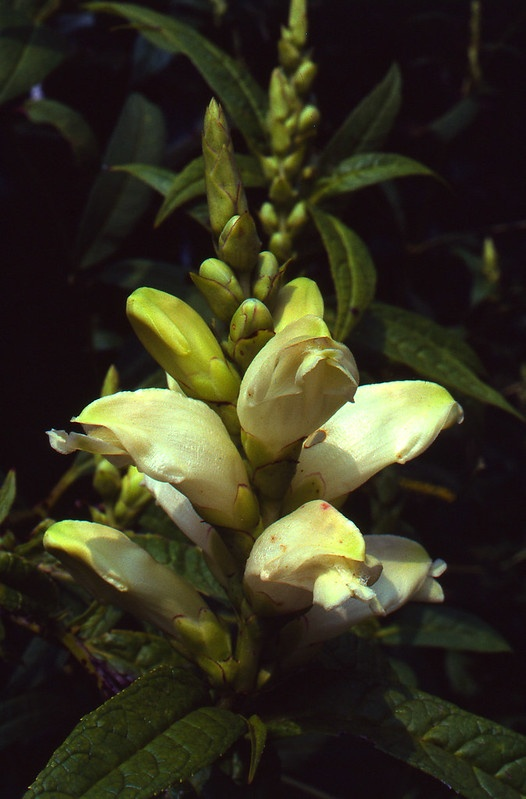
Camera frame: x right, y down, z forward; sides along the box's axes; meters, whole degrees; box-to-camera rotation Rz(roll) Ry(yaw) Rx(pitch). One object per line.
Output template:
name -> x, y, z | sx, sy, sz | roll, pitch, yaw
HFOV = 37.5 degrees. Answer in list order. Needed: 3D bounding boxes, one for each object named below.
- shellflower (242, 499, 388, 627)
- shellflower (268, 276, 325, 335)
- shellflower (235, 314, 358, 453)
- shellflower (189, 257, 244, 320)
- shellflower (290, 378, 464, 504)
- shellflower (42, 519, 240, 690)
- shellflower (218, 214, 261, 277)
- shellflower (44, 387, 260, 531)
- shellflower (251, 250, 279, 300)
shellflower -> 0.021, 0.069, 0.332 | 0.035, 0.040, 0.067 | 7, 5, -32
shellflower -> 0.017, -0.047, 0.378 | 0.026, 0.031, 0.010 | 9, -8, 26
shellflower -> 0.017, -0.002, 0.341 | 0.055, 0.067, 0.030 | 12, 38, 41
shellflower -> -0.021, -0.054, 0.379 | 0.015, 0.032, 0.022 | -34, 1, 37
shellflower -> 0.072, 0.016, 0.436 | 0.077, 0.039, 0.155 | -18, 11, 2
shellflower -> -0.058, 0.105, 0.404 | 0.041, 0.138, 0.044 | -63, 20, -12
shellflower -> -0.010, -0.075, 0.374 | 0.019, 0.026, 0.009 | -8, 16, -14
shellflower -> -0.047, 0.030, 0.358 | 0.026, 0.092, 0.051 | -33, 37, 53
shellflower -> 0.004, -0.064, 0.407 | 0.014, 0.024, 0.013 | 15, -16, -15
